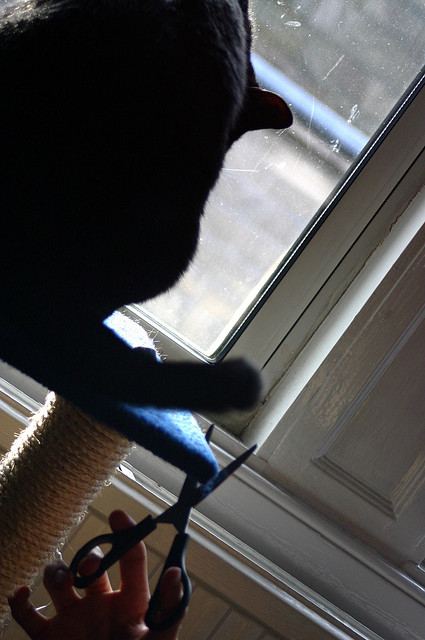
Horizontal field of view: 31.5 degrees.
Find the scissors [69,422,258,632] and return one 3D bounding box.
[{"bbox_3d":[-0.037,0.182,0.652,0.105,0.174,0.062,36,14,11],"label":"scissors"}]
